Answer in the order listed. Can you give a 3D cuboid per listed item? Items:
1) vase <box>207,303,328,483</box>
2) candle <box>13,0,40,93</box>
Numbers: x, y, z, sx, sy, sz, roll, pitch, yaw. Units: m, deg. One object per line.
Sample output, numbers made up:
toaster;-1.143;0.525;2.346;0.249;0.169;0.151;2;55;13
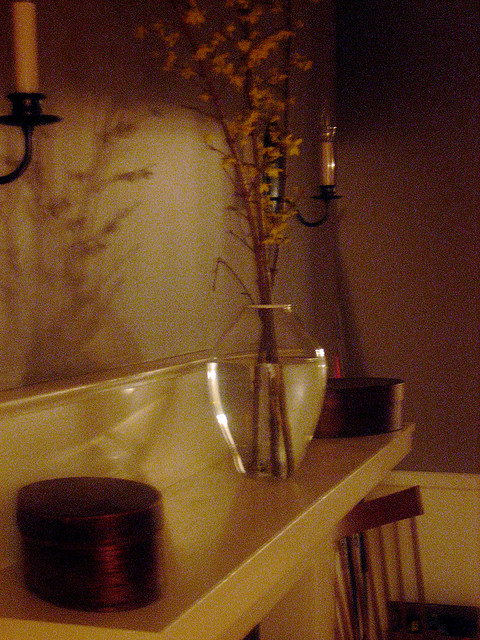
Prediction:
vase;0.027;0.074;0.609;0.134;0.172;0.115;-1;0;39
candle;-0.213;-0.269;0.574;0.028;0.091;0.050;5;0;-23
